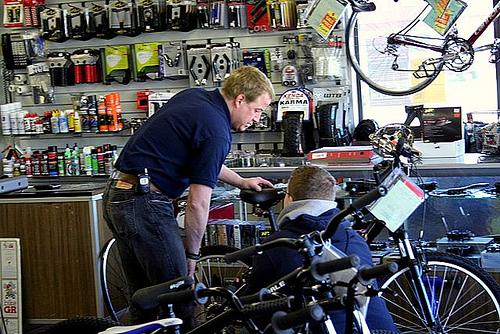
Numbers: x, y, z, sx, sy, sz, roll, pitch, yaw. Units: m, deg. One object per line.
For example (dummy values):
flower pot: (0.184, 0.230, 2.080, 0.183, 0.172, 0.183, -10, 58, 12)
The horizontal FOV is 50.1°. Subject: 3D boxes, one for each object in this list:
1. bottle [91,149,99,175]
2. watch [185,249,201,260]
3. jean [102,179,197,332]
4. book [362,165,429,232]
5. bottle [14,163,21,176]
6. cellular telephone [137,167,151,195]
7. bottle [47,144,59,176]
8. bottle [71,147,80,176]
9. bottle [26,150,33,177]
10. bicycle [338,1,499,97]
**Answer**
bottle: (-2.046, -0.071, 7.081, 0.112, 0.336, 0.038, -1, 4, 35)
watch: (-0.370, 0.564, 3.485, 0.092, 0.027, 0.073, 0, 2, 4)
jean: (-0.692, 0.479, 3.530, 0.501, 0.817, 0.286, -1, 4, 31)
book: (0.770, 0.180, 2.820, 0.344, 0.366, 0.085, -50, 16, -16)
bottle: (-3.152, 0.018, 7.257, 0.094, 0.156, 0.119, -4, 3, -22)
cellular telephone: (-0.670, 0.088, 3.404, 0.087, 0.174, 0.043, -4, 3, -17)
bottle: (-2.656, -0.088, 7.217, 0.134, 0.392, 0.121, -5, 4, -32)
bottle: (-2.333, -0.075, 7.155, 0.105, 0.372, 0.061, -3, 3, 0)
bottle: (-2.998, -0.053, 7.253, 0.080, 0.357, 0.174, -4, 3, -23)
bicycle: (2.021, -1.470, 6.613, 2.129, 1.036, 0.995, 5, 12, 26)
